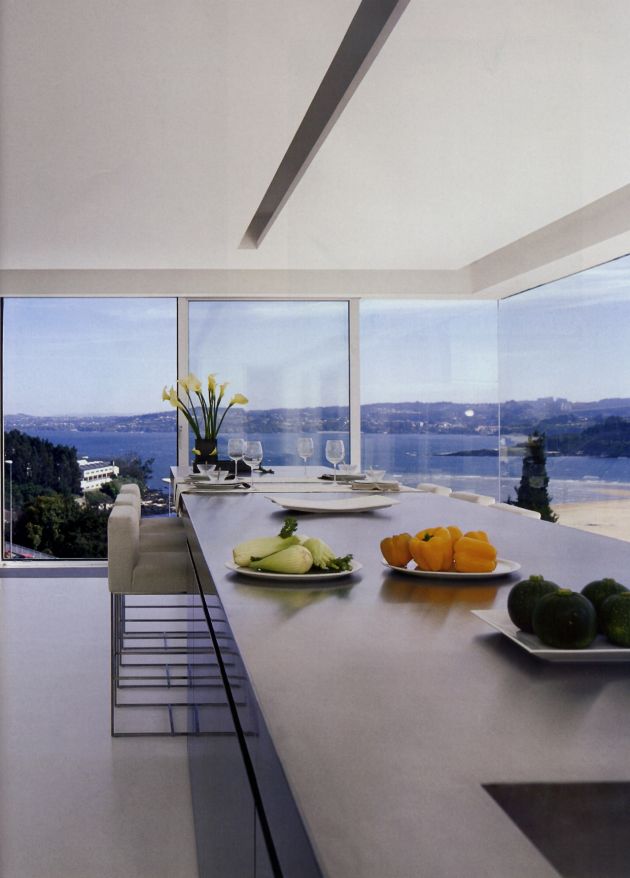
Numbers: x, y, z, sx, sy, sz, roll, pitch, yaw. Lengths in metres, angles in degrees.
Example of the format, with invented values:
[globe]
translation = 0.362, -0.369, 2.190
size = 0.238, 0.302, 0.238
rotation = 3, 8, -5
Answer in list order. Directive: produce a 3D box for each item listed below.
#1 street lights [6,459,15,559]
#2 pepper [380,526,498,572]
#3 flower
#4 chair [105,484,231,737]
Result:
[street lights]
translation = -2.758, 0.626, 5.939
size = 0.074, 0.888, 0.098
rotation = 1, -1, -26
[pepper]
translation = 0.202, 0.156, 1.002
size = 0.137, 0.058, 0.076
rotation = 4, -7, -35
[flower]
translation = -0.901, -0.271, 5.233
size = 0.538, 0.494, 0.538
rotation = -5, 7, -35
[chair]
translation = -0.539, 0.608, 2.279
size = 0.307, 0.519, 0.903
rotation = 0, 6, -8
